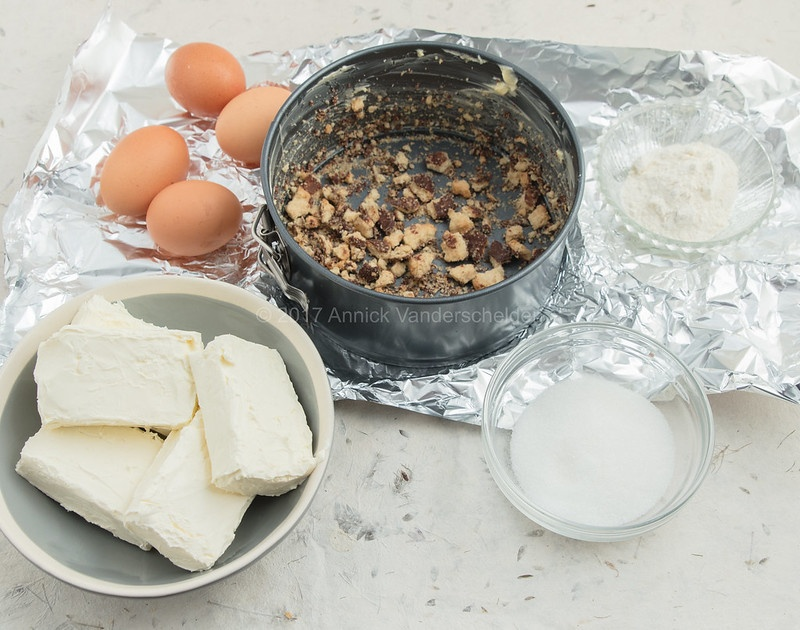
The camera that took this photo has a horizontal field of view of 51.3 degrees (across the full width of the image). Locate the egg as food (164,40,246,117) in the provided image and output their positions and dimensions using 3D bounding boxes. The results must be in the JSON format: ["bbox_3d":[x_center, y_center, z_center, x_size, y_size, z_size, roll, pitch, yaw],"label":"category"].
[{"bbox_3d":[-0.461,-0.545,1.925,0.172,0.149,0.140,-1,18,-1],"label":"egg as food"}]

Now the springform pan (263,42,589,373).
[{"bbox_3d":[0.039,-0.250,1.786,0.659,0.336,0.686,20,75,11],"label":"springform pan"}]

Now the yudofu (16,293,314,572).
[{"bbox_3d":[-0.422,0.226,1.542,0.541,0.141,0.428,13,74,9],"label":"yudofu"}]

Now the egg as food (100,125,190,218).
[{"bbox_3d":[-0.554,-0.309,1.864,0.199,0.150,0.157,-35,86,-20],"label":"egg as food"}]

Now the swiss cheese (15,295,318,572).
[{"bbox_3d":[-0.440,0.208,1.588,0.542,0.194,0.455,30,48,13],"label":"swiss cheese"}]

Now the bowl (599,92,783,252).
[{"bbox_3d":[0.641,-0.329,1.899,0.393,0.108,0.399,-1,73,4],"label":"bowl"}]

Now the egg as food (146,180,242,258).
[{"bbox_3d":[-0.444,-0.211,1.803,0.190,0.115,0.130,-12,71,1],"label":"egg as food"}]
